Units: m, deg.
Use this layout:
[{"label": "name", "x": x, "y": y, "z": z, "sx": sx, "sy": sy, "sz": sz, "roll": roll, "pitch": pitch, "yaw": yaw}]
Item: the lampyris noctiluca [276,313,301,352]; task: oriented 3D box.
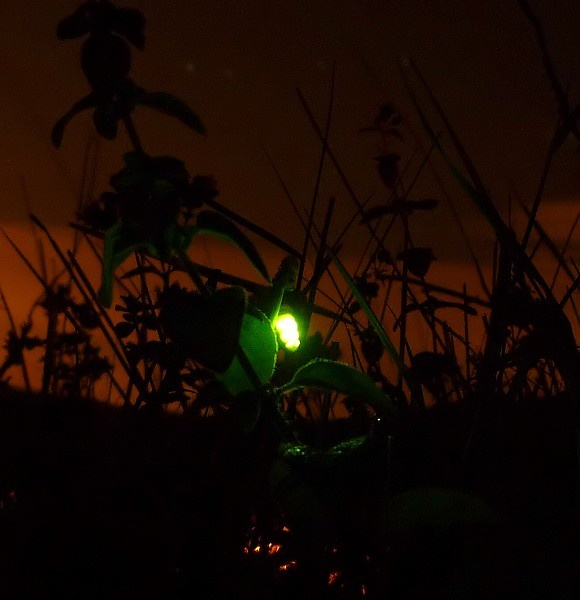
[{"label": "lampyris noctiluca", "x": -0.002, "y": 0.025, "z": 0.708, "sx": 0.017, "sy": 0.007, "sz": 0.028, "roll": -19, "pitch": -77, "yaw": -34}]
